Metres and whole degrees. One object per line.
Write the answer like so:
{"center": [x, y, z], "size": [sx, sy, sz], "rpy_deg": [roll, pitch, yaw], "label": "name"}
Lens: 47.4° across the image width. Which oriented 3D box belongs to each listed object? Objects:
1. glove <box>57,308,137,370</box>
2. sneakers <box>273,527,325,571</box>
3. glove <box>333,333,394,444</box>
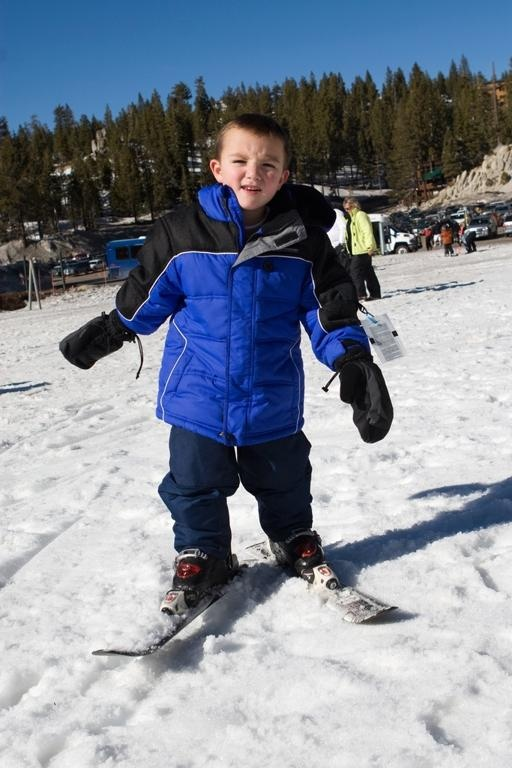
{"center": [-0.557, -0.159, 2.079], "size": [0.271, 0.167, 0.108], "rpy_deg": [-31, 19, -9], "label": "glove"}
{"center": [0.146, 0.570, 2.026], "size": [0.094, 0.121, 0.255], "rpy_deg": [-13, 6, -10], "label": "sneakers"}
{"center": [0.337, 0.027, 1.837], "size": [0.159, 0.337, 0.188], "rpy_deg": [-6, 5, 9], "label": "glove"}
